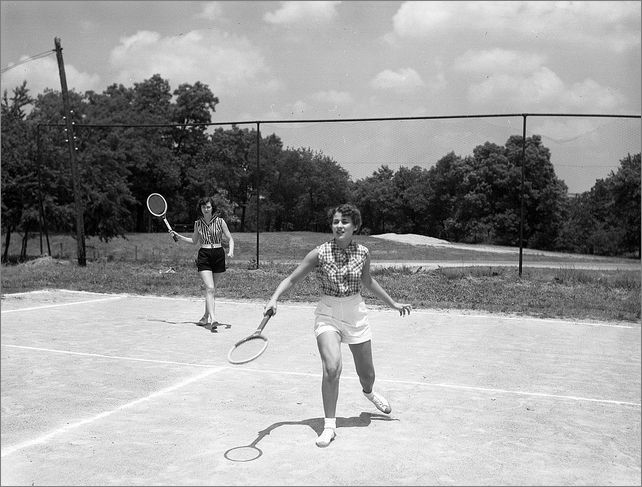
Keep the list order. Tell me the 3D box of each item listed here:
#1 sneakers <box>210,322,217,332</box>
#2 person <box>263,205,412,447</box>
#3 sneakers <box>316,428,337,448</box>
[{"bbox_3d":[-1.897,1.453,12.375,0.131,0.170,0.373,0,5,-9],"label":"sneakers"},{"bbox_3d":[0.165,0.812,7.637,0.714,2.450,1.081,6,7,45],"label":"person"},{"bbox_3d":[0.048,1.985,7.282,0.172,0.181,0.347,3,5,20],"label":"sneakers"}]
